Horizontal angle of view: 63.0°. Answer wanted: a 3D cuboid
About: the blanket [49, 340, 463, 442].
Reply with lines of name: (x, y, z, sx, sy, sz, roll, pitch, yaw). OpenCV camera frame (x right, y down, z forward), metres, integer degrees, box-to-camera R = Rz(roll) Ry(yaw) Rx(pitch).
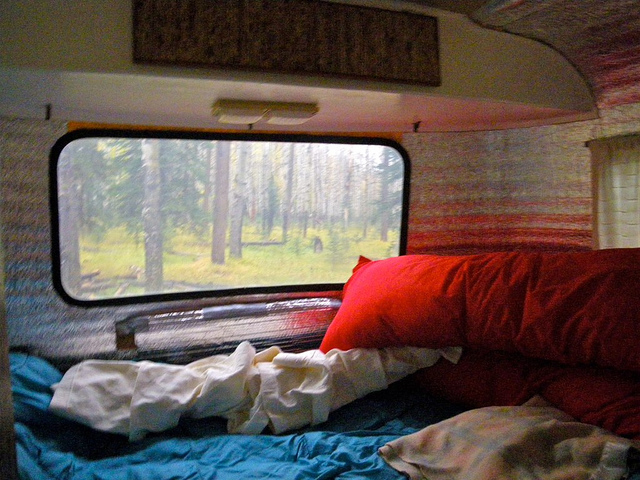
blanket: (-0.351, 0.630, 2.263, 1.909, 0.187, 0.535, -3, 17, -1)

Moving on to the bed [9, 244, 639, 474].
bed: (-0.002, 0.533, 2.015, 2.226, 0.502, 1.034, -2, 32, -2)
